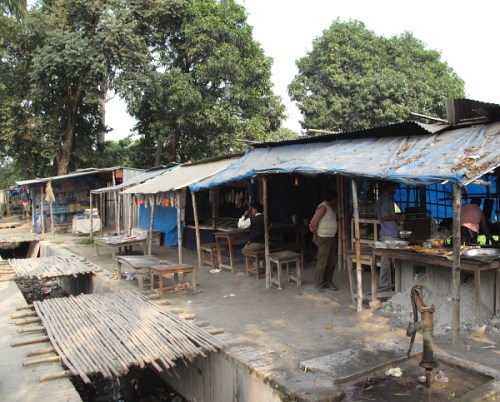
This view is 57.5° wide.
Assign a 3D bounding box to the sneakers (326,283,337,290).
[{"bbox_3d":[1.698,1.785,9.454,0.093,0.099,0.255,1,-6,-24],"label":"sneakers"}]

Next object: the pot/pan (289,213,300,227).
[{"bbox_3d":[1.298,0.573,13.221,0.320,0.471,0.307,3,13,9],"label":"pot/pan"}]

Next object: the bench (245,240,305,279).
[{"bbox_3d":[0.700,1.544,10.627,0.660,0.572,1.247,-3,1,-19],"label":"bench"}]

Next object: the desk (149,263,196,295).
[{"bbox_3d":[-1.696,1.651,9.820,0.960,0.618,0.767,0,-2,-33],"label":"desk"}]

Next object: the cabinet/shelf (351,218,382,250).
[{"bbox_3d":[2.784,0.756,10.843,0.827,0.693,1.393,5,1,-3],"label":"cabinet/shelf"}]

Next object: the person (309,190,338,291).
[{"bbox_3d":[1.496,0.926,9.339,0.519,1.795,0.387,0,5,6],"label":"person"}]

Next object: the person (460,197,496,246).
[{"bbox_3d":[4.592,0.467,9.266,0.547,0.974,1.600,2,4,27],"label":"person"}]

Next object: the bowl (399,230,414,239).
[{"bbox_3d":[2.870,0.626,8.330,0.205,0.080,0.169,0,0,5],"label":"bowl"}]

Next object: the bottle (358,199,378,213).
[{"bbox_3d":[2.881,0.044,11.202,0.336,0.356,0.575,0,1,-11],"label":"bottle"}]

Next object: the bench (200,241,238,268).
[{"bbox_3d":[-1.010,1.627,12.824,0.997,0.605,1.209,-10,0,-4],"label":"bench"}]
